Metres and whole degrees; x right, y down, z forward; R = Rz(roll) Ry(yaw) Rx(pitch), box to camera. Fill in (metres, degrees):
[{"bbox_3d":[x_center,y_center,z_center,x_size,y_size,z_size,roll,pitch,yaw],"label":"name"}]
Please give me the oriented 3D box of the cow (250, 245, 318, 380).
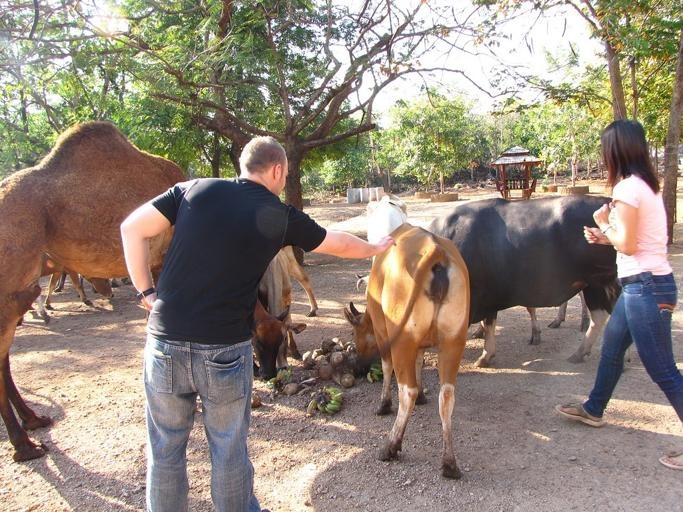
[{"bbox_3d":[-0.739,0.683,6.578,0.614,0.898,1.682,5,30,-5],"label":"cow"}]
